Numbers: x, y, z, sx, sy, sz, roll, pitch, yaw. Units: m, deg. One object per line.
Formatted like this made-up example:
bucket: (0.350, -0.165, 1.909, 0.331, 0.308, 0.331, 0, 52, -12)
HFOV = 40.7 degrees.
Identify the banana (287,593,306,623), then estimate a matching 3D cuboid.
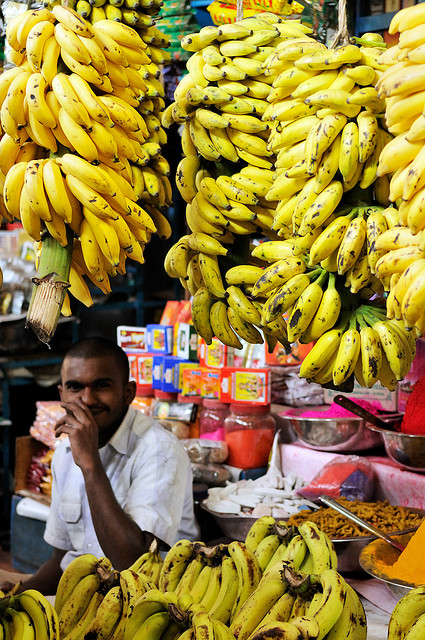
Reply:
banana: (0.111, 0.381, 0.754, 0.011, 0.017, 0.049, 5, 48, 37)

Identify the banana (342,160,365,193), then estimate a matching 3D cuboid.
banana: (0.215, -0.214, 0.870, 0.016, 0.057, 0.019, 12, 3, -35)

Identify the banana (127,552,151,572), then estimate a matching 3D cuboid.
banana: (-0.136, 0.446, 1.060, 0.019, 0.027, 0.079, -23, -8, -18)

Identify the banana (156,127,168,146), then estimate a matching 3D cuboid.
banana: (-0.101, -0.366, 1.159, 0.012, 0.043, 0.015, -26, 14, -29)

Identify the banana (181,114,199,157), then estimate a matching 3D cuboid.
banana: (-0.047, -0.378, 1.180, 0.030, 0.080, 0.022, -21, 46, -23)

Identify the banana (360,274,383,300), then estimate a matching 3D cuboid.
banana: (0.265, -0.057, 0.963, 0.011, 0.040, 0.015, 16, 38, -24)

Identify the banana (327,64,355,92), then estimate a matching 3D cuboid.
banana: (0.195, -0.366, 0.869, 0.017, 0.063, 0.023, 26, -4, 6)

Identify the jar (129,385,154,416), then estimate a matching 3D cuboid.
jar: (-0.346, 0.390, 2.842, 0.108, 0.115, 0.146, -1, 18, -6)

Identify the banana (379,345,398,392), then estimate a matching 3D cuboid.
banana: (0.295, 0.093, 0.972, 0.028, 0.099, 0.032, -9, 18, 1)

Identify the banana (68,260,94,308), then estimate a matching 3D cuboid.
banana: (-0.249, -0.063, 1.052, 0.041, 0.038, 0.127, 20, 18, -17)

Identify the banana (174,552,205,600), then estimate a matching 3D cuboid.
banana: (-0.035, 0.400, 0.917, 0.024, 0.086, 0.029, 29, -13, 21)

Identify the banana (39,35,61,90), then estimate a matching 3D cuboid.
banana: (-0.247, -0.397, 0.879, 0.026, 0.092, 0.032, 0, -4, -13)

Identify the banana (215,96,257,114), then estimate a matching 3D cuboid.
banana: (0.044, -0.395, 1.063, 0.093, 0.029, 0.027, 5, 52, 11)

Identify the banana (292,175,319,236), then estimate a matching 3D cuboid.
banana: (0.149, -0.178, 0.920, 0.033, 0.100, 0.028, 26, -6, 15)

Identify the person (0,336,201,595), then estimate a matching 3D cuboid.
person: (-0.388, 0.560, 1.975, 0.639, 0.933, 0.583, 9, 20, 23)

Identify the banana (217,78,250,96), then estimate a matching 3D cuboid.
banana: (0.036, -0.432, 1.060, 0.076, 0.023, 0.025, 16, -12, 20)

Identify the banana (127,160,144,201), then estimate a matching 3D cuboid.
banana: (-0.138, -0.261, 1.105, 0.041, 0.033, 0.128, 14, -16, -2)

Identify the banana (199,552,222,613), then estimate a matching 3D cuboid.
banana: (0.001, 0.407, 0.877, 0.015, 0.082, 0.029, 18, 11, -26)

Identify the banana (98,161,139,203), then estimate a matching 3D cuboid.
banana: (-0.147, -0.220, 0.924, 0.023, 0.082, 0.026, -27, 27, 31)

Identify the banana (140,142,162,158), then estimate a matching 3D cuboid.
banana: (-0.116, -0.321, 1.085, 0.035, 0.027, 0.056, -1, 18, -4)

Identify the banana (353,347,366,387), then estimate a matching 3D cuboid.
banana: (0.241, 0.075, 0.941, 0.022, 0.081, 0.027, -5, 3, 10)

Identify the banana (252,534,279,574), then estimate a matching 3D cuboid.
banana: (0.092, 0.402, 0.996, 0.021, 0.077, 0.026, 26, -24, 10)

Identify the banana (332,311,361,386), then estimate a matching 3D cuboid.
banana: (0.217, 0.049, 0.921, 0.025, 0.116, 0.043, 28, -25, -20)

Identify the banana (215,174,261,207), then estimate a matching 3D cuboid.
banana: (0.046, -0.240, 1.077, 0.108, 0.037, 0.035, 32, -2, 35)

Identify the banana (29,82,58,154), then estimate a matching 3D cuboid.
banana: (-0.259, -0.312, 0.881, 0.030, 0.085, 0.025, 16, -20, -27)

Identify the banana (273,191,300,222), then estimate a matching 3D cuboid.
banana: (0.125, -0.191, 0.968, 0.019, 0.053, 0.012, 34, 6, -7)

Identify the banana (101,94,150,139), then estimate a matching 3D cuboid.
banana: (-0.145, -0.349, 0.969, 0.029, 0.036, 0.105, -31, 56, -17)

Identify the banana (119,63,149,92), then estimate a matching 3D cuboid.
banana: (-0.133, -0.407, 0.977, 0.055, 0.018, 0.019, 42, 19, -44)

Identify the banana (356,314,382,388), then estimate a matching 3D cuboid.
banana: (0.245, 0.050, 0.907, 0.031, 0.111, 0.040, 4, -11, -16)

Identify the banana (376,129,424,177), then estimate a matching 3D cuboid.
banana: (0.219, -0.196, 0.676, 0.021, 0.059, 0.030, 19, 31, -52)

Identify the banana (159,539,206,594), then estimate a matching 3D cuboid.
banana: (-0.044, 0.381, 0.947, 0.039, 0.124, 0.044, 19, -22, 9)

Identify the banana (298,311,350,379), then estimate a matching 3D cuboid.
banana: (0.183, 0.040, 0.933, 0.024, 0.111, 0.038, 33, -6, -36)

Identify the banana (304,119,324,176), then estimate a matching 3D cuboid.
banana: (0.140, -0.252, 0.852, 0.028, 0.083, 0.023, 4, 10, -26)

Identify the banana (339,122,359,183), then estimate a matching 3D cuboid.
banana: (0.197, -0.243, 0.829, 0.025, 0.082, 0.024, 4, -6, -16)

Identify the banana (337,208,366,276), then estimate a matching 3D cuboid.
banana: (0.207, -0.117, 0.880, 0.029, 0.103, 0.034, 18, -16, 6)

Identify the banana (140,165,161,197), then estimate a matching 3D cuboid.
banana: (-0.117, -0.261, 1.076, 0.023, 0.026, 0.077, -32, 57, 1)

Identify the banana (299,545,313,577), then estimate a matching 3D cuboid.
banana: (0.147, 0.381, 0.894, 0.015, 0.057, 0.021, 9, 3, 14)

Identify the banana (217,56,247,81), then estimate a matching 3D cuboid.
banana: (0.037, -0.465, 1.056, 0.040, 0.042, 0.062, -9, 21, -28)

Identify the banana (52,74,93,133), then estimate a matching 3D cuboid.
banana: (-0.223, -0.339, 0.882, 0.040, 0.032, 0.118, -20, 71, -34)

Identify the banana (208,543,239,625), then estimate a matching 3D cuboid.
banana: (0.022, 0.399, 0.866, 0.025, 0.036, 0.109, 23, 30, 1)

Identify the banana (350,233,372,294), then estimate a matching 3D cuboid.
banana: (0.230, -0.088, 0.896, 0.024, 0.087, 0.029, 12, -1, -4)

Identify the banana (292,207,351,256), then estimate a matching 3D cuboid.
banana: (0.169, -0.136, 0.882, 0.025, 0.093, 0.033, 40, 16, -30)
